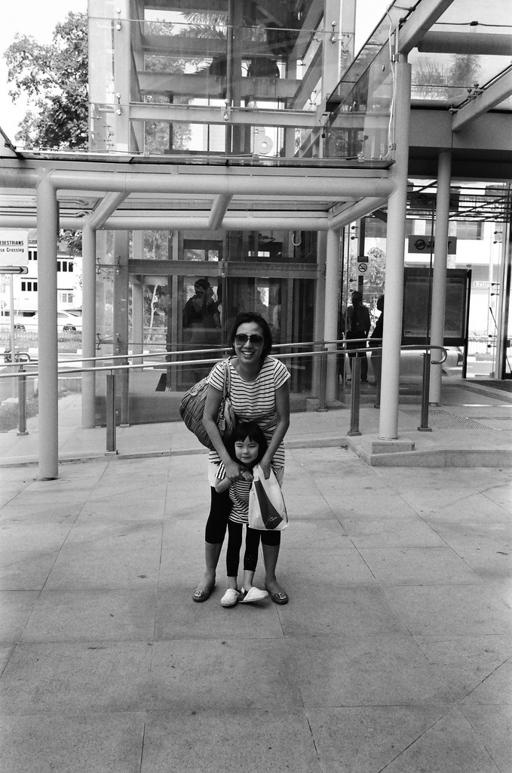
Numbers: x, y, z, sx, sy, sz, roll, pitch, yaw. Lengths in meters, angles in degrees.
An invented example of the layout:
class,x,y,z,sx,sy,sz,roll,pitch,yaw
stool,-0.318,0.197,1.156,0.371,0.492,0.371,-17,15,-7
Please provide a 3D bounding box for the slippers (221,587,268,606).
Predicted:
class,x,y,z,sx,sy,sz,roll,pitch,yaw
slippers,-0.061,1.048,4.067,0.226,0.090,0.094,-2,-13,-4

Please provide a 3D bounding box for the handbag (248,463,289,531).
class,x,y,z,sx,sy,sz,roll,pitch,yaw
handbag,0.053,0.548,3.945,0.162,0.358,0.241,2,5,21

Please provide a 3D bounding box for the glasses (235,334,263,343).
class,x,y,z,sx,sy,sz,roll,pitch,yaw
glasses,-0.038,-0.230,3.826,0.124,0.044,0.044,0,5,-3

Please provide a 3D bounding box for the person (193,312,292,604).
class,x,y,z,sx,sy,sz,roll,pitch,yaw
person,-0.085,0.363,4.033,0.471,1.459,0.426,1,5,2
